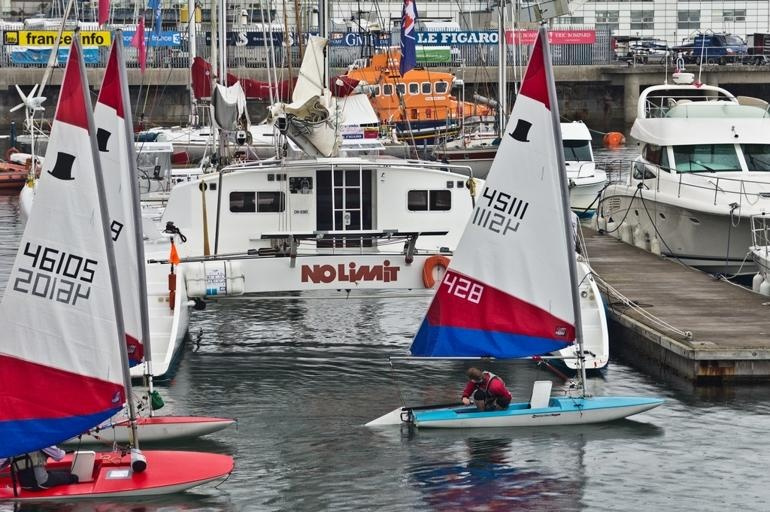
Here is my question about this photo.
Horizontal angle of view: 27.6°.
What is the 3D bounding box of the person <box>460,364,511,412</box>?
[{"bbox_3d":[2.304,3.063,34.603,1.181,1.136,0.840,-1,19,-11],"label":"person"}]
